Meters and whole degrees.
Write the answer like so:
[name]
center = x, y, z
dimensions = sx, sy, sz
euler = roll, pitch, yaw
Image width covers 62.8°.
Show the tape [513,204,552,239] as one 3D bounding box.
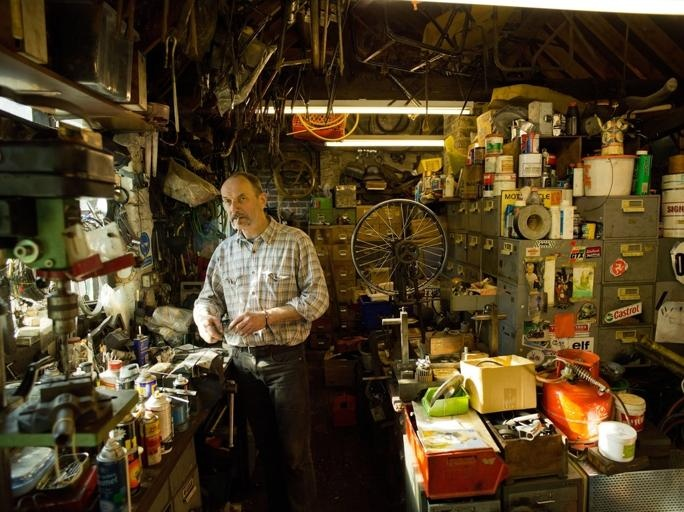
[tape]
center = 1.369, -0.216, 3.924
dimensions = 0.225, 0.258, 0.153
euler = -3, -17, 31
